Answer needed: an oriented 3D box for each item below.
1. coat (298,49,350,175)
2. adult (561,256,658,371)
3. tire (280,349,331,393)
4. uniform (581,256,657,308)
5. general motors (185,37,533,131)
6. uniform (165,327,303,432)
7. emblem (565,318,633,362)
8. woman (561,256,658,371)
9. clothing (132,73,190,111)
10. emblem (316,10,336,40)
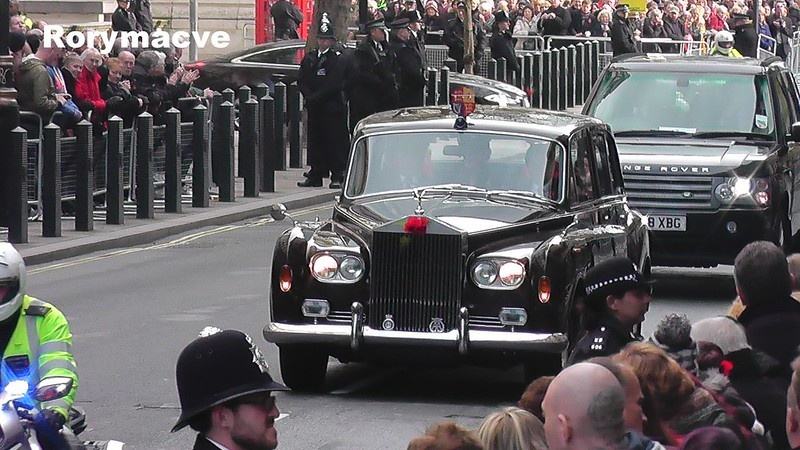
[{"bbox_3d":[-1.507,-2.185,25.120,0.892,2.647,0.678,6,20,23],"label":"coat"},{"bbox_3d":[1.703,0.697,10.406,0.782,0.862,0.897,-2,5,5],"label":"adult"},{"bbox_3d":[-0.979,1.538,13.386,0.531,0.441,0.821,0,-7,2],"label":"tire"},{"bbox_3d":[1.769,0.449,10.526,0.480,0.266,0.345,-13,8,-6],"label":"uniform"},{"bbox_3d":[-1.108,-3.527,29.878,7.871,2.499,3.283,1,6,8],"label":"general motors"},{"bbox_3d":[-1.223,0.990,8.779,0.825,0.568,0.775,-15,-2,6],"label":"uniform"},{"bbox_3d":[1.597,0.961,10.365,0.441,0.239,0.355,-25,-8,-5],"label":"emblem"},{"bbox_3d":[1.755,0.722,10.609,0.844,0.907,0.876,-4,1,35],"label":"woman"},{"bbox_3d":[-4.323,-2.356,23.076,0.970,0.369,0.308,8,25,-8],"label":"clothing"},{"bbox_3d":[-1.459,-3.796,24.758,0.289,0.424,0.757,0,12,-5],"label":"emblem"}]
